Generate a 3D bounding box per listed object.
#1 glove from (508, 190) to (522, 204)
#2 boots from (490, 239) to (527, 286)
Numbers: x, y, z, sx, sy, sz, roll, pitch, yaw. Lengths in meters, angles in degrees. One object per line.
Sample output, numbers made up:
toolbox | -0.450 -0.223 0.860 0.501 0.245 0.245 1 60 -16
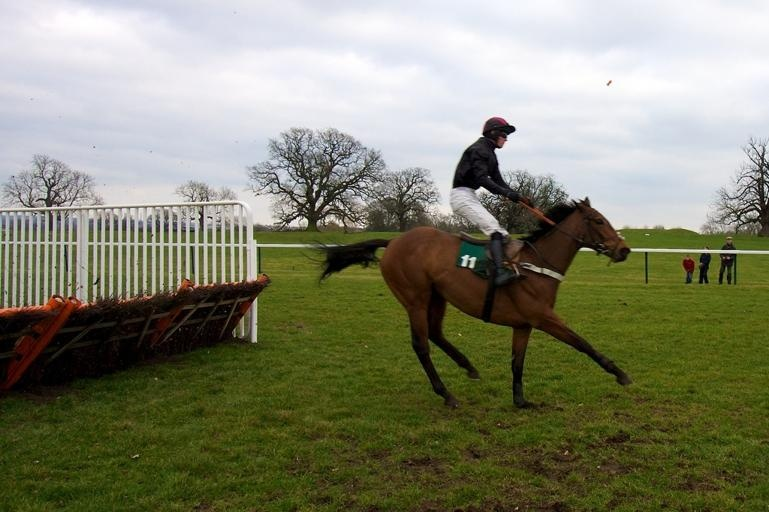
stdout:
glove | 1.641 -0.756 7.865 0.159 0.159 0.242 3 4 12
boots | 1.515 0.099 7.684 0.419 0.170 0.644 -10 50 -14
